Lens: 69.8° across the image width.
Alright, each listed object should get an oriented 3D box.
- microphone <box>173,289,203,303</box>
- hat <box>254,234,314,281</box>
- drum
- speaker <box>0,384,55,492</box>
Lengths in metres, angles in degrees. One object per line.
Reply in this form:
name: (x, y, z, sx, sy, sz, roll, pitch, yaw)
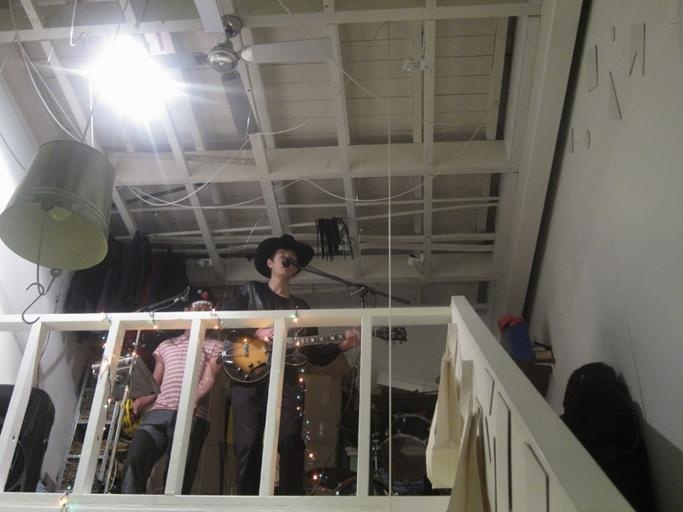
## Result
microphone: (-1.559, 0.415, 4.989, 0.156, 0.046, 0.178, -2, -55, -10)
hat: (-0.633, 0.006, 4.978, 0.419, 0.193, 0.520, 11, -41, -11)
drum: (0.535, 1.675, 4.336, 0.498, 0.737, 1.019, -2, -37, 8)
speaker: (-2.099, 1.272, 3.376, 0.171, 0.660, 0.367, 7, -36, -5)
